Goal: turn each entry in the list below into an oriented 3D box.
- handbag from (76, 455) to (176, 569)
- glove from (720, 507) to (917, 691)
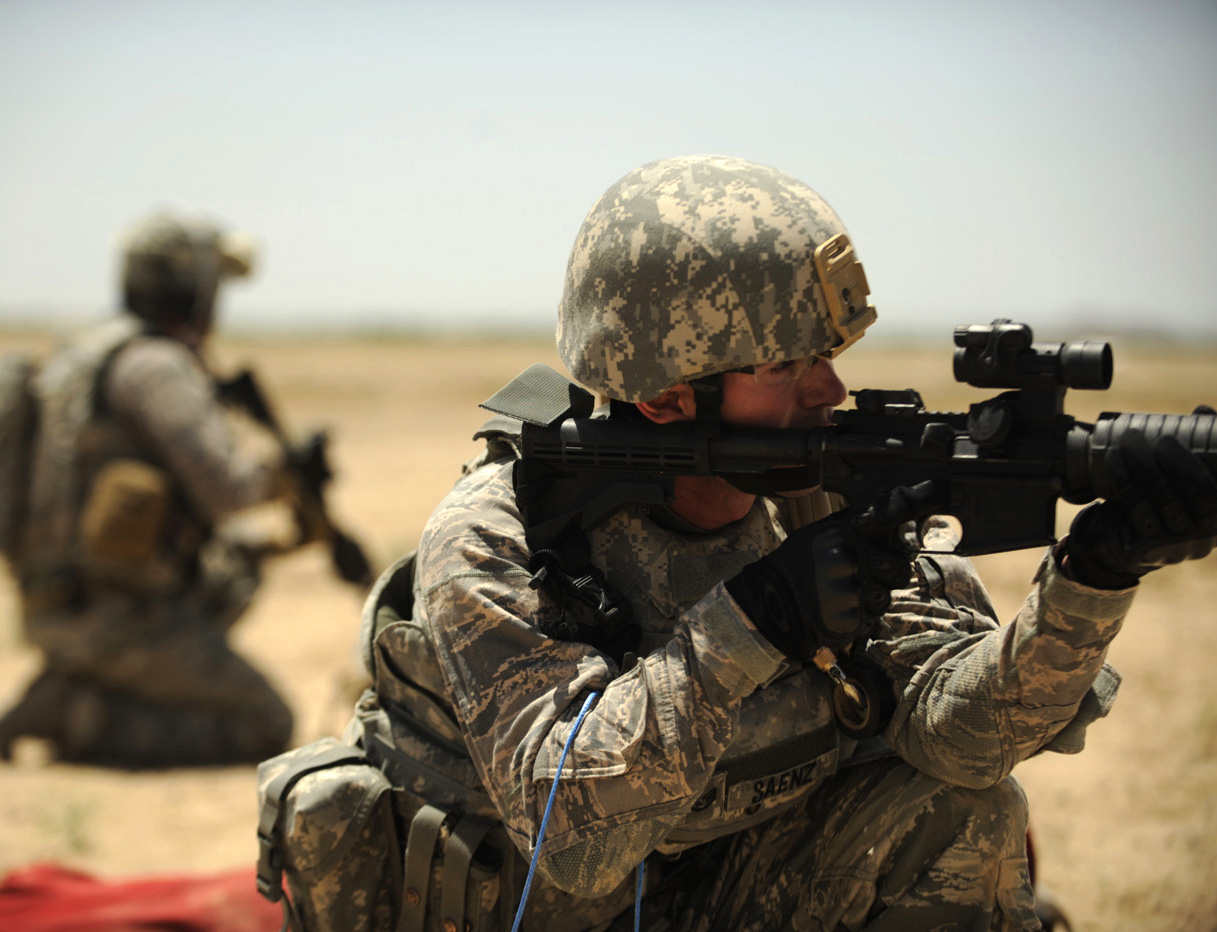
[{"bbox_3d":[-2.513,0.276,10.203,0.460,0.553,0.135,4,19,-27],"label":"handbag"},{"bbox_3d":[0.827,0.491,7.582,0.677,0.529,0.315,-24,15,-15],"label":"glove"}]
